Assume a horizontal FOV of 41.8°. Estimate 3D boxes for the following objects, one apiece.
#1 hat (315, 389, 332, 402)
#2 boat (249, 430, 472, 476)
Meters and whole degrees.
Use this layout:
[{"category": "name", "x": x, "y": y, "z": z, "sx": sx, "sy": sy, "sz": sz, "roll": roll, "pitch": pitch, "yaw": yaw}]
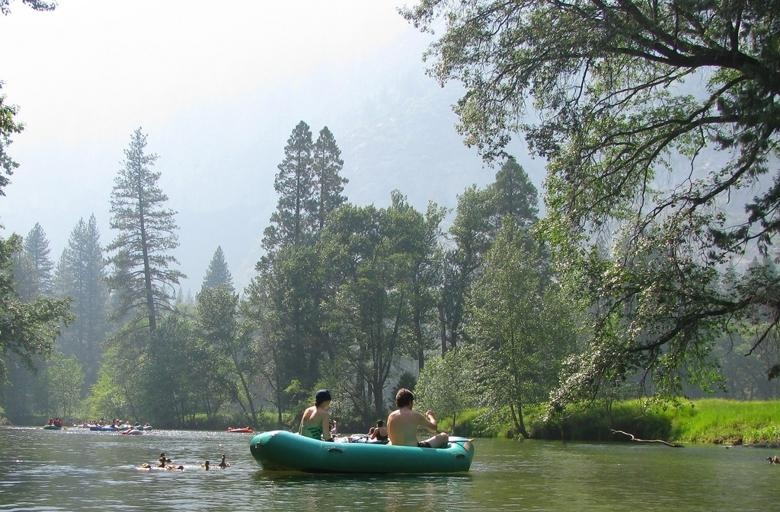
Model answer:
[{"category": "hat", "x": -3.127, "y": 5.748, "z": 42.016, "sx": 0.404, "sy": 0.576, "sz": 0.557, "roll": 1, "pitch": 19, "yaw": 16}, {"category": "boat", "x": -1.789, "y": 8.260, "z": 41.820, "sx": 5.352, "sy": 1.266, "sz": 3.668, "roll": 4, "pitch": -17, "yaw": -12}]
